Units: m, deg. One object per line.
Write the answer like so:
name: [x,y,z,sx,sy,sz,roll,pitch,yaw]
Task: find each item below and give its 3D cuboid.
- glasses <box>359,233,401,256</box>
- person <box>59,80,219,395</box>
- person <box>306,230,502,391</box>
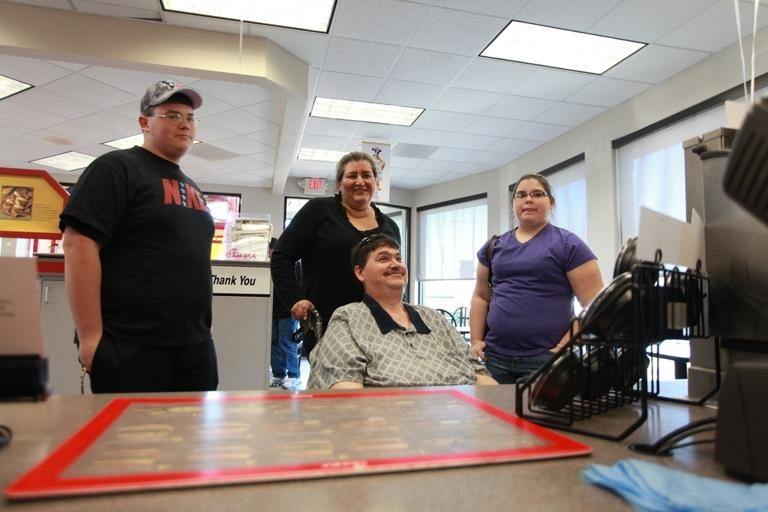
glasses: [-0.035,-0.035,2.222,0.116,0.075,0.126,-13,-9,-23]
person: [-0.916,-0.069,1.994,0.475,1.234,0.627,2,11,3]
person: [-0.005,0.220,1.945,0.713,0.506,0.653,10,14,36]
